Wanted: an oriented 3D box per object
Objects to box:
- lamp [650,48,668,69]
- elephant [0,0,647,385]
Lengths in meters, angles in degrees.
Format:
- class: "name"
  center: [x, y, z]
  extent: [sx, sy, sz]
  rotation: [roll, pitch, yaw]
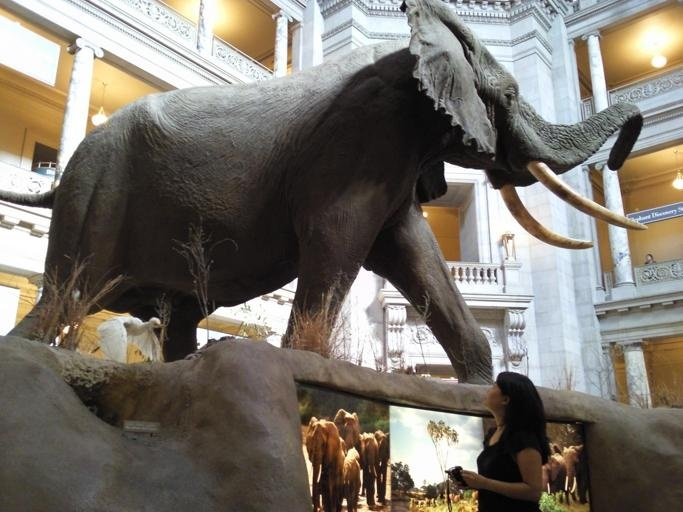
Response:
- class: "lamp"
  center: [9.392, -5.878, 16.301]
  extent: [0.466, 0.504, 0.485]
  rotation: [-24, -59, -4]
- class: "elephant"
  center: [-0.514, -0.179, 3.951]
  extent: [4.148, 2.628, 1.694]
  rotation: [-4, -8, 7]
